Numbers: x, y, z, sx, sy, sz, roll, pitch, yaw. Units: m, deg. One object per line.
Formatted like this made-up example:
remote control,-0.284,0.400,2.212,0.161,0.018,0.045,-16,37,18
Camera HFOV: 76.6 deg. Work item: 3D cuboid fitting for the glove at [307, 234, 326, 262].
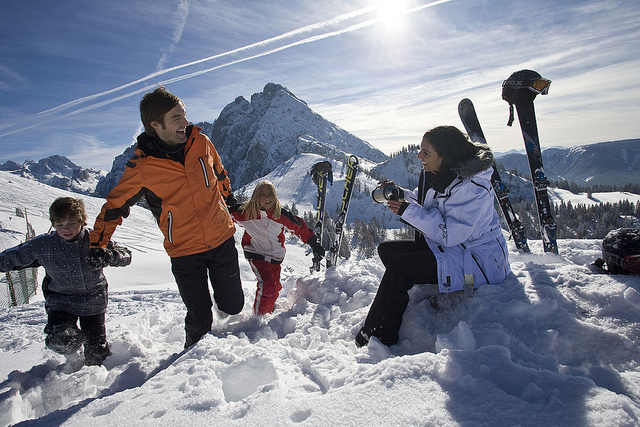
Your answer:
glove,-0.013,0.665,7.791,0.157,0.500,0.307,-23,13,-35

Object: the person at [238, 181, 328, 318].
person,-0.732,0.519,7.287,1.359,1.837,0.779,-6,-3,-24

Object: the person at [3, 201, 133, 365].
person,-3.608,0.975,5.703,1.047,2.261,0.567,-6,-3,-25

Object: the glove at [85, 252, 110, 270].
glove,-3.117,0.665,5.668,0.245,0.229,0.449,-6,-3,-38
